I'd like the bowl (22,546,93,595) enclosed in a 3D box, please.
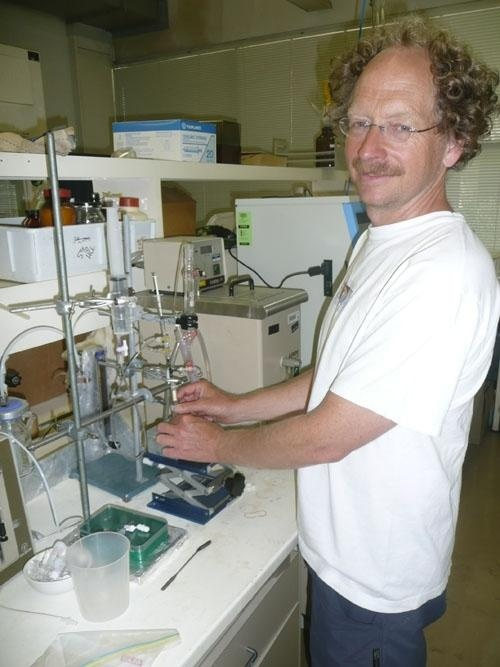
[{"bbox_3d":[-0.364,0.447,1.083,0.094,0.035,0.088,-5,33,3],"label":"bowl"}]

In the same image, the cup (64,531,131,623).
[{"bbox_3d":[-0.255,0.431,1.064,0.127,0.128,0.121,1,22,0],"label":"cup"}]
